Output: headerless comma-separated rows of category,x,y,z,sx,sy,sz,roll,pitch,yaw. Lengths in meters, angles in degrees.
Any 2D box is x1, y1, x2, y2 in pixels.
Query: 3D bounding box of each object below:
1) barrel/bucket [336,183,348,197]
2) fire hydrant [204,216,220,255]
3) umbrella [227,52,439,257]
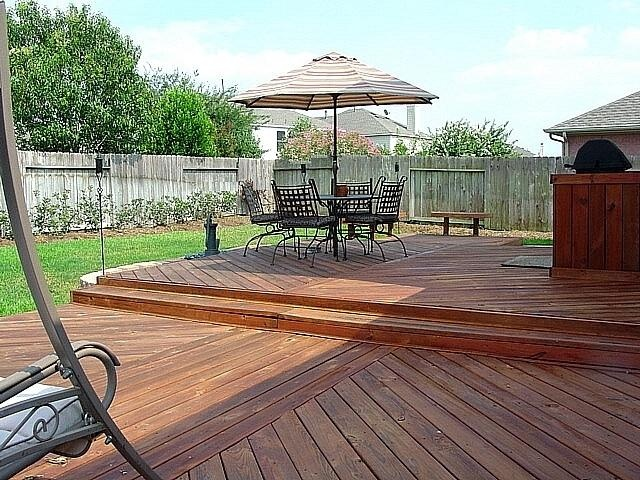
barrel/bucket,0.290,-0.655,6.254,0.153,0.149,0.156,-4,10,1
fire hydrant,-1.658,-0.108,7.170,0.230,0.636,0.941,-7,10,-13
umbrella,0.261,-1.297,6.880,2.502,2.891,2.549,-4,10,1
